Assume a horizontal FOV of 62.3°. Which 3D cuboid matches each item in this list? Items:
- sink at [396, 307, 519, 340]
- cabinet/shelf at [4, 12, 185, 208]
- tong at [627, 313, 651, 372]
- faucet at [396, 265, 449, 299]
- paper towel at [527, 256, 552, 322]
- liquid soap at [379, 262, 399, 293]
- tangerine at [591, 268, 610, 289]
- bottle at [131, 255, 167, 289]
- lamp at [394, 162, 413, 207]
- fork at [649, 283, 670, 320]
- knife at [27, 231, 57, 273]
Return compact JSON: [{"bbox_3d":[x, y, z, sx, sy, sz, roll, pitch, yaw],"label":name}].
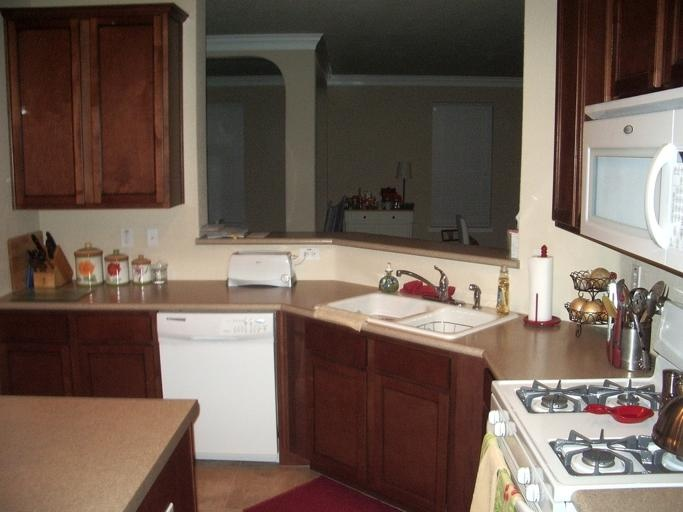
[{"bbox_3d":[0.560,0.365,3.119,0.282,0.146,0.354,5,8,44],"label":"sink"},{"bbox_3d":[-1.569,-0.926,3.525,1.093,1.441,0.571,0,4,0],"label":"cabinet/shelf"},{"bbox_3d":[1.270,0.362,2.395,0.097,0.259,0.071,-8,13,-33],"label":"tong"},{"bbox_3d":[0.524,0.131,3.474,0.325,0.196,0.311,4,13,19],"label":"faucet"},{"bbox_3d":[1.055,0.169,2.997,0.130,0.347,0.110,4,12,18],"label":"paper towel"},{"bbox_3d":[0.305,0.127,3.606,0.115,0.179,0.233,1,12,8],"label":"liquid soap"},{"bbox_3d":[1.266,0.101,2.760,0.086,0.108,0.089,-11,14,7],"label":"tangerine"},{"bbox_3d":[-1.310,0.117,3.848,0.258,0.207,0.149,0,4,-34],"label":"bottle"},{"bbox_3d":[0.982,-1.163,8.968,0.249,0.659,0.490,1,12,7],"label":"lamp"},{"bbox_3d":[1.315,0.188,2.361,0.037,0.132,0.087,5,16,-17],"label":"fork"},{"bbox_3d":[-1.985,-0.025,3.758,0.248,0.086,0.164,-30,-47,32],"label":"knife"}]
